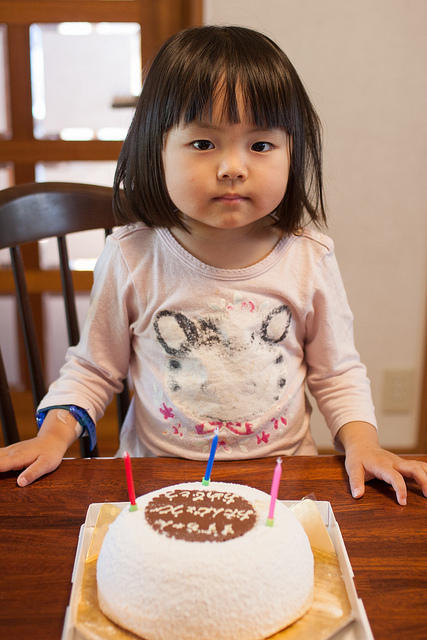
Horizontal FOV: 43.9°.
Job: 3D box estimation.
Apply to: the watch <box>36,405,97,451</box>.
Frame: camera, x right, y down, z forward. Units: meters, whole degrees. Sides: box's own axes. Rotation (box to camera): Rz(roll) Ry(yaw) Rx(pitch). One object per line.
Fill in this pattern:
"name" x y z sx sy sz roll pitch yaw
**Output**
"watch" -0.211 0.139 0.798 0.075 0.081 0.054 -19 27 5
